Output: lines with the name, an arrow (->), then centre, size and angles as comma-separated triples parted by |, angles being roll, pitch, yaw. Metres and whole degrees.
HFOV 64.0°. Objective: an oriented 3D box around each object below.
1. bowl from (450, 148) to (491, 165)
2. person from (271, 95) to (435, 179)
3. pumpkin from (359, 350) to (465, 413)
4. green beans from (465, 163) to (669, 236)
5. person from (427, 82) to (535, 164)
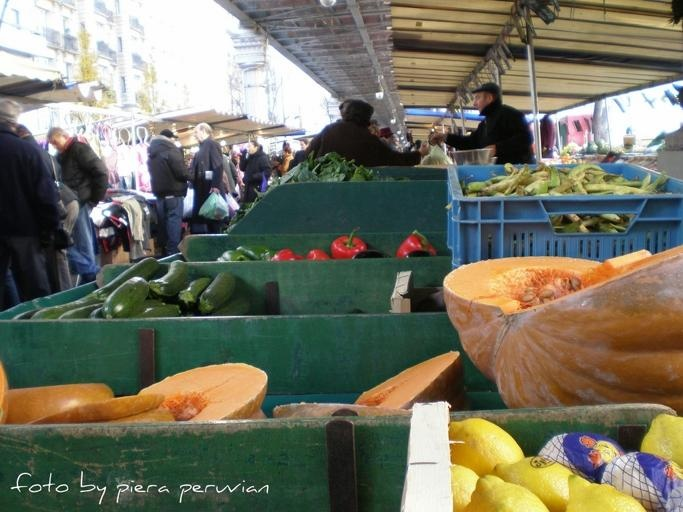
bowl -> 0.942, -0.698, 3.829 | 0.204, 0.073, 0.203 | -1, 2, 0
person -> 0.271, -1.481, 6.513 | 1.276, 0.830, 0.633 | -8, 9, -25
pumpkin -> 0.233, 0.398, 1.836 | 0.287, 0.088, 0.204 | -28, -7, -2
green beans -> 1.282, -0.360, 2.789 | 0.975, 0.414, 1.057 | -2, 9, -5
person -> 1.694, -1.260, 6.290 | 1.026, 1.382, 0.688 | -5, 11, 44
